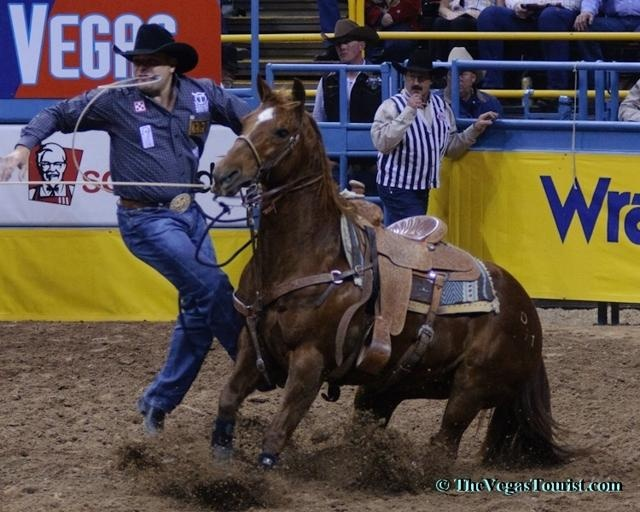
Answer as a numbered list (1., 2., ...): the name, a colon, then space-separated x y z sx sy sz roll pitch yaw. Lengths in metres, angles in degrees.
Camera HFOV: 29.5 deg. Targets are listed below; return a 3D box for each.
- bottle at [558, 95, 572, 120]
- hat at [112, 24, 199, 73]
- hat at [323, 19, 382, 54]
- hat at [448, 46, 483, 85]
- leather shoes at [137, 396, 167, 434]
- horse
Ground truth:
1. bottle: 2.237 -1.352 11.052 0.157 0.198 0.210 1 -34 15
2. hat: -0.926 -1.330 7.532 0.354 0.152 0.403 -14 -27 31
3. hat: 0.292 -1.946 10.846 0.508 0.212 0.570 -7 -7 -4
4. hat: 1.288 -1.687 10.743 0.280 0.147 0.387 1 -9 9
5. leather shoes: -1.047 1.005 7.597 0.151 0.236 0.094 -28 12 -9
6. horse: 0.347 0.179 7.230 2.004 2.472 0.625 -6 11 -24
